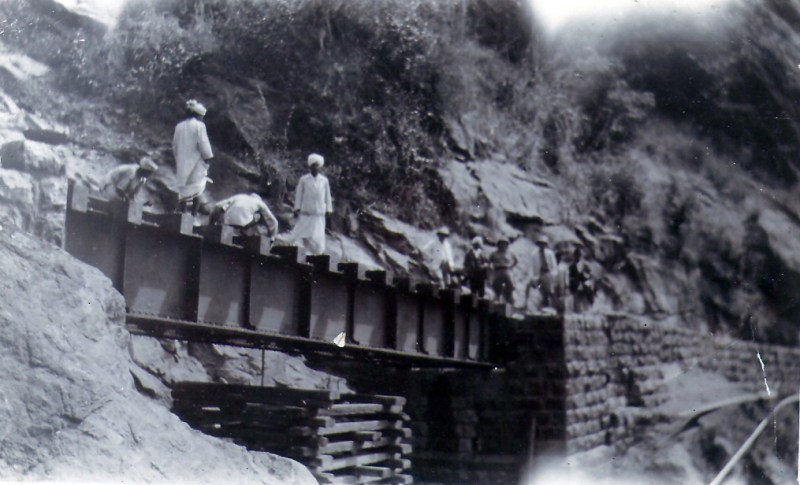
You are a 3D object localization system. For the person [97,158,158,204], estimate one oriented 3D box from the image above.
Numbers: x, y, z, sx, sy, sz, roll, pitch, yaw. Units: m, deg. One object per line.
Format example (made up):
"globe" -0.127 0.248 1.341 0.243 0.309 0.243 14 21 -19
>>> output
"person" -7.235 -1.568 40.288 1.710 1.064 0.420 -14 -29 32

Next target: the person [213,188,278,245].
"person" -4.196 -0.685 41.315 1.723 1.240 0.675 15 -27 -27

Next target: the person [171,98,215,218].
"person" -5.616 -2.234 40.907 1.150 2.939 0.750 11 13 28

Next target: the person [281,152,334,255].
"person" -2.462 -1.001 42.503 1.080 3.437 1.465 3 -24 -3
